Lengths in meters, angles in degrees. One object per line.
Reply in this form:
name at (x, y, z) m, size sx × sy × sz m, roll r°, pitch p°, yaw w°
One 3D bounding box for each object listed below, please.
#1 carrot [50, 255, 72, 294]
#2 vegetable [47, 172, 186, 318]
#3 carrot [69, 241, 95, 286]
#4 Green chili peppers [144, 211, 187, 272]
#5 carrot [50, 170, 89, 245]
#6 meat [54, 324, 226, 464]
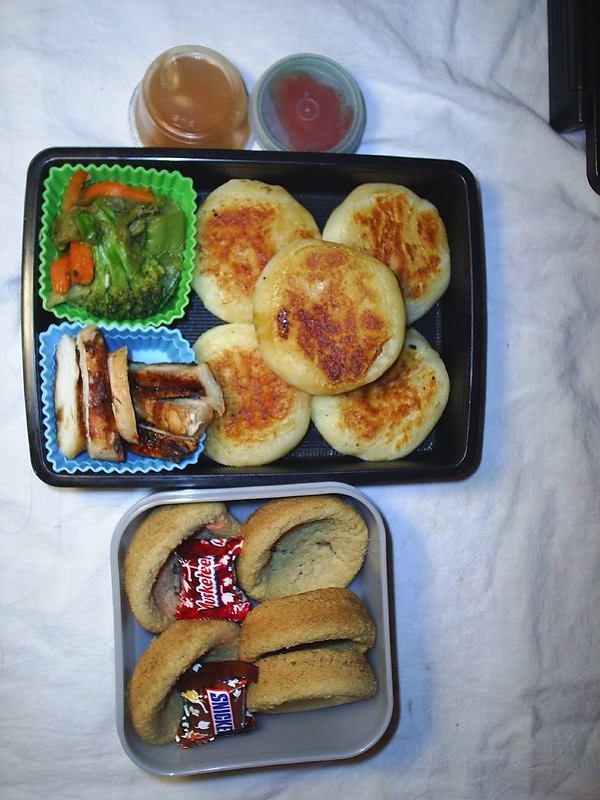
carrot at (-0.625, -0.330, 2.193) m, size 0.077 × 0.027 × 0.089 m, roll -6°, pitch 92°, yaw 1°
vegetable at (-0.501, -0.394, 2.277) m, size 0.367 × 0.132 × 0.385 m, roll 2°, pitch 93°, yaw -11°
carrot at (-0.573, -0.361, 2.196) m, size 0.065 × 0.043 × 0.104 m, roll -10°, pitch 98°, yaw -11°
Green chili peppers at (-0.358, -0.424, 2.236) m, size 0.119 × 0.044 × 0.143 m, roll 11°, pitch 91°, yaw -19°
carrot at (-0.604, -0.503, 2.199) m, size 0.115 × 0.046 × 0.177 m, roll 10°, pitch 79°, yaw -20°
meat at (-0.447, 0.012, 2.248) m, size 0.442 × 0.143 × 0.326 m, roll 6°, pitch 90°, yaw 10°
